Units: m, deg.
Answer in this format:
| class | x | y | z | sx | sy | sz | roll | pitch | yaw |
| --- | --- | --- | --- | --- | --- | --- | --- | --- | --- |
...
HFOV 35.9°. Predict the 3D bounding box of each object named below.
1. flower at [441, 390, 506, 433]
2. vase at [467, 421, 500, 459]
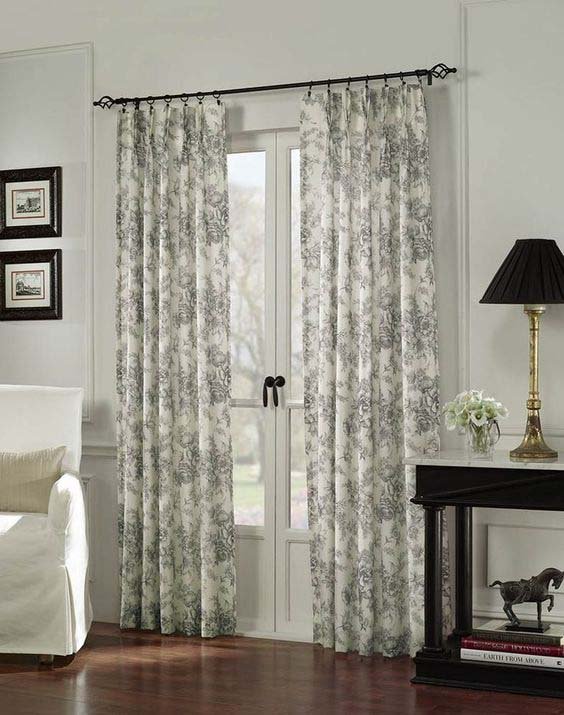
| class | x | y | z | sx | sy | sz | roll | pitch | yaw |
| --- | --- | --- | --- | --- | --- | --- | --- | --- | --- |
| flower | 0.670 | 0.195 | 3.065 | 0.165 | 0.096 | 0.160 | 0 | -5 | -29 |
| vase | 0.697 | 0.287 | 2.991 | 0.116 | 0.124 | 0.114 | -1 | -4 | 22 |
